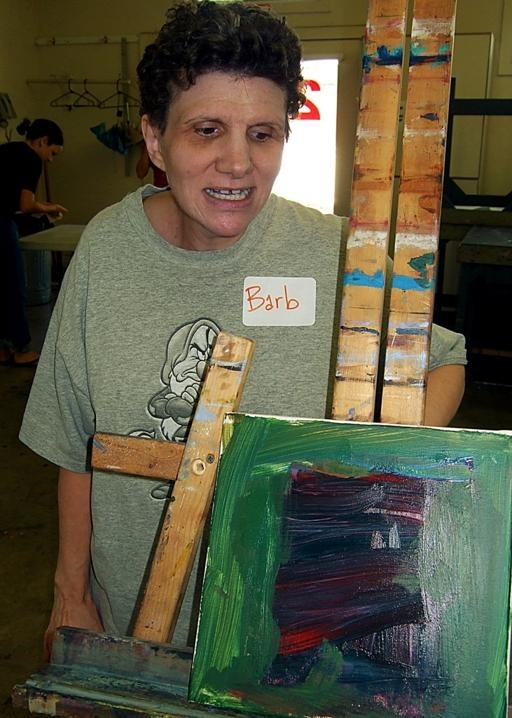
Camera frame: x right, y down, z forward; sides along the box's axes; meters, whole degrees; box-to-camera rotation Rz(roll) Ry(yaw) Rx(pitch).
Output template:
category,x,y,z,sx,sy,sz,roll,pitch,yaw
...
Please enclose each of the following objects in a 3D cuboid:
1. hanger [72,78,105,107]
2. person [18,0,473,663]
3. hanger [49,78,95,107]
category,x,y,z,sx,sy,sz,roll,pitch,yaw
hanger,-1.843,-2.969,6.874,0.356,0.209,0.028,4,12,8
person,-0.045,-0.015,0.954,0.684,0.950,0.429,-3,27,-5
hanger,-2.038,-2.996,6.928,0.386,0.246,0.033,2,5,9
